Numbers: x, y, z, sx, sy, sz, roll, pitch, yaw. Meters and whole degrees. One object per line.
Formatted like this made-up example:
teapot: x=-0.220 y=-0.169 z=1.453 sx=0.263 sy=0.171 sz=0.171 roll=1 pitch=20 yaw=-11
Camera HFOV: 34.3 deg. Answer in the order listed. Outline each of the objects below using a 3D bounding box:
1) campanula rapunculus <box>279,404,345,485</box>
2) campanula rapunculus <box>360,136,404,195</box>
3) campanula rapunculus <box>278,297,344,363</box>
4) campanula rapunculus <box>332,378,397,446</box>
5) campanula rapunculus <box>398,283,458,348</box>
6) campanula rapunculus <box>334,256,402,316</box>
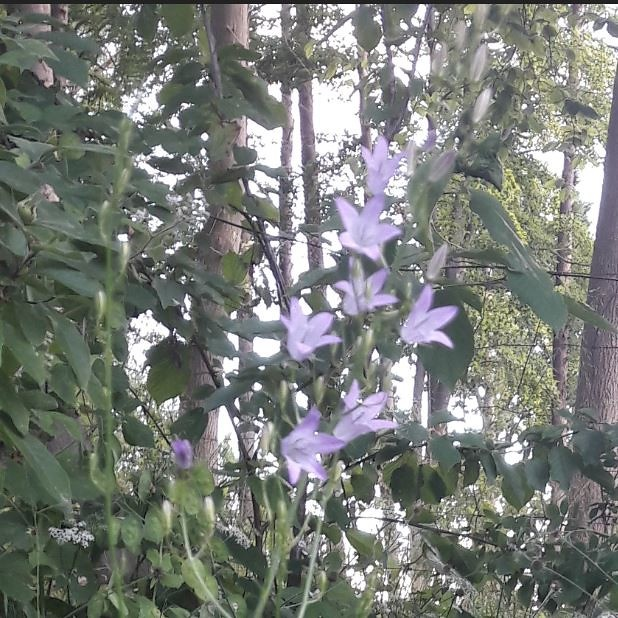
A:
campanula rapunculus: x=0.000 y=0.275 z=1.958 sx=0.128 sy=0.064 sz=0.139 roll=-10 pitch=-63 yaw=-5
campanula rapunculus: x=0.151 y=-0.263 z=2.078 sx=0.092 sy=0.067 sz=0.159 roll=7 pitch=-35 yaw=6
campanula rapunculus: x=-0.003 y=0.050 z=2.050 sx=0.109 sy=0.137 sz=0.074 roll=-10 pitch=-27 yaw=-22
campanula rapunculus: x=0.116 y=0.227 z=2.012 sx=0.139 sy=0.130 sz=0.098 roll=10 pitch=-21 yaw=-10
campanula rapunculus: x=0.233 y=0.022 z=1.985 sx=0.109 sy=0.117 sz=0.104 roll=23 pitch=-27 yaw=-36
campanula rapunculus: x=0.103 y=-0.031 z=1.989 sx=0.127 sy=0.108 sz=0.152 roll=11 pitch=-23 yaw=-12
